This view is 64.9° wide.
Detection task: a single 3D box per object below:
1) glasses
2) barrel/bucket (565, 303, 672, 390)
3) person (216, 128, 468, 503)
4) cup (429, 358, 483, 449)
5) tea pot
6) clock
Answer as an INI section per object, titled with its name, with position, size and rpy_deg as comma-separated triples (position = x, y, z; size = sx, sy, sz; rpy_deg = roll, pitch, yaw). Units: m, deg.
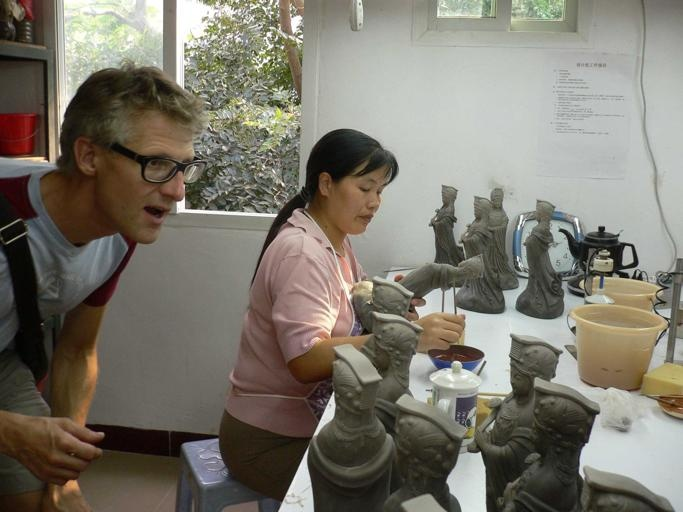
[glasses]
position = -0.472, -0.232, 1.386
size = 0.125, 0.042, 0.123
rpy_deg = 30, 14, 26
[barrel/bucket]
position = 0.842, 0.240, 1.665
size = 0.240, 0.205, 0.252
rpy_deg = 2, 14, -1
[person]
position = -0.118, 0.029, 2.157
size = 0.945, 1.562, 1.021
rpy_deg = 5, 18, -6
[cup]
position = 0.280, 0.339, 1.325
size = 0.118, 0.225, 0.205
rpy_deg = 3, 14, 16
[tea pot]
position = 1.090, -0.030, 2.338
size = 0.332, 0.257, 0.187
rpy_deg = 9, 20, 31
[clock]
position = 0.967, -0.042, 2.489
size = 0.279, 0.325, 0.147
rpy_deg = 1, -6, 9
